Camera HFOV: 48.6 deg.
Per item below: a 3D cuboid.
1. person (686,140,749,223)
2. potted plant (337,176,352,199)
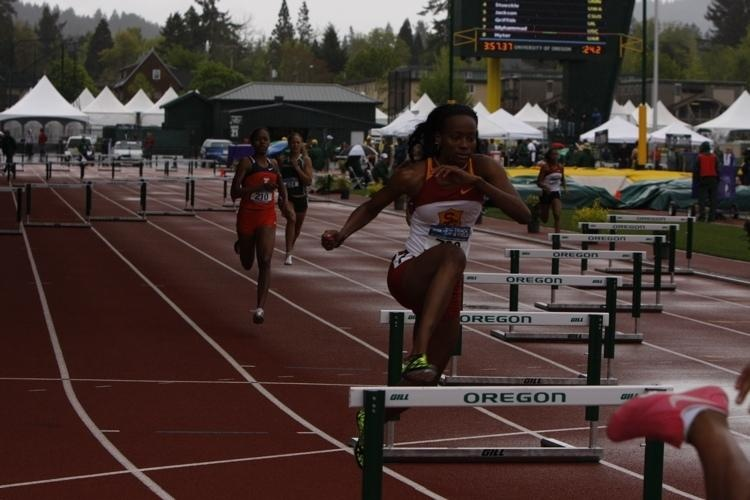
[{"bbox_3d":[10.991,-2.174,27.468,1.469,3.922,1.132,0,1,-30],"label":"person"},{"bbox_3d":[-1.319,-2.678,35.733,0.835,1.100,0.785,0,-2,-3],"label":"potted plant"}]
